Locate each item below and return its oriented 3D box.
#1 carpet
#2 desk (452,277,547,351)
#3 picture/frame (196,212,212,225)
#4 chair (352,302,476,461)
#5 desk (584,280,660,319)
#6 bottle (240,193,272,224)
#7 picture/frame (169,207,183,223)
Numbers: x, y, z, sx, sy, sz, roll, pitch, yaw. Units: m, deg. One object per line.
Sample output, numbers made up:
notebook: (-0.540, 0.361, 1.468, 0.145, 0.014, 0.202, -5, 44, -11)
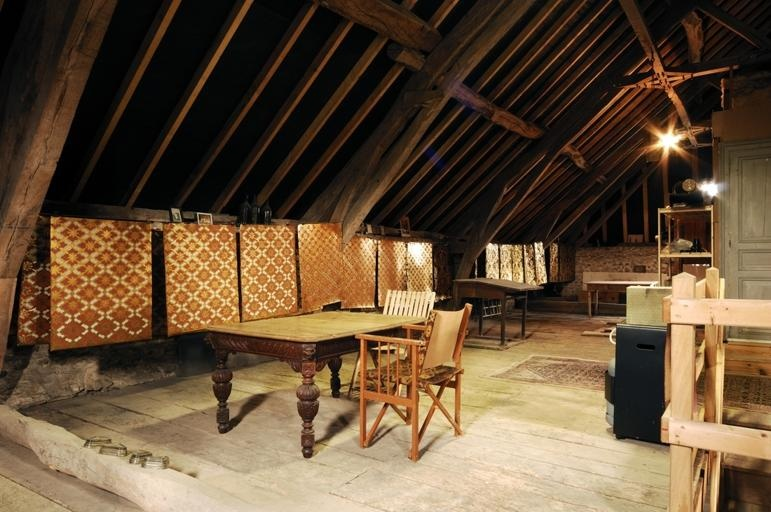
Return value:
carpet: (2.097, 1.418, 6.414, 1.221, 0.143, 1.426, 3, 9, 24)
desk: (1.806, 0.898, 8.328, 1.161, 0.993, 1.056, -2, -5, 33)
picture/frame: (-2.182, -0.465, 6.224, 0.118, 0.125, 0.292, 3, 9, 21)
chair: (0.239, 1.067, 4.543, 0.820, 1.160, 0.845, -1, -1, 34)
desk: (5.098, 0.896, 10.717, 1.549, 0.730, 0.566, -4, -2, 33)
bottle: (-1.678, -0.604, 6.534, 0.149, 0.374, 0.419, 5, 3, 38)
picture/frame: (-2.470, -0.480, 5.984, 0.069, 0.185, 0.196, -10, -11, 34)
